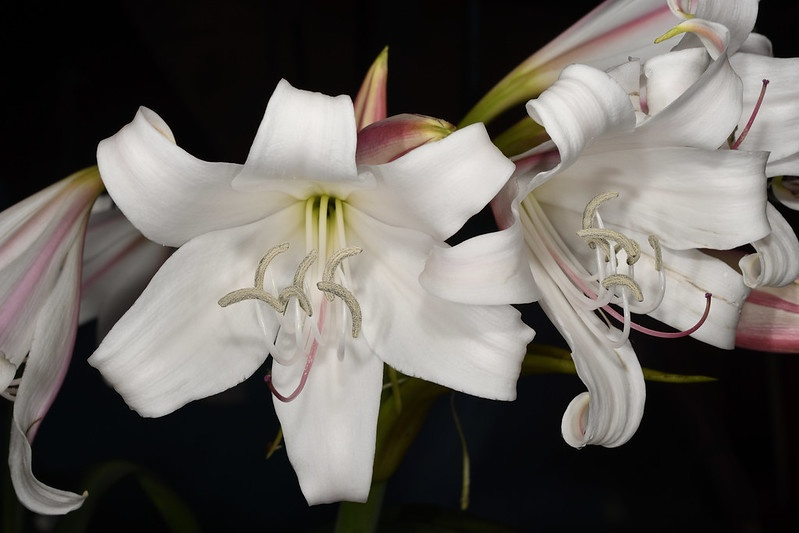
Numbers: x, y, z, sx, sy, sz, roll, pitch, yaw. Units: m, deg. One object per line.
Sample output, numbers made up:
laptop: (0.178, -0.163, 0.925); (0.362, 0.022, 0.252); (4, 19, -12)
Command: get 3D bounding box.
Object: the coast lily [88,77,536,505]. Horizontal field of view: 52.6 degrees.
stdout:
coast lily: (-0.156, 0.051, 1.379); (0.774, 0.483, 0.521); (11, 54, 7)
